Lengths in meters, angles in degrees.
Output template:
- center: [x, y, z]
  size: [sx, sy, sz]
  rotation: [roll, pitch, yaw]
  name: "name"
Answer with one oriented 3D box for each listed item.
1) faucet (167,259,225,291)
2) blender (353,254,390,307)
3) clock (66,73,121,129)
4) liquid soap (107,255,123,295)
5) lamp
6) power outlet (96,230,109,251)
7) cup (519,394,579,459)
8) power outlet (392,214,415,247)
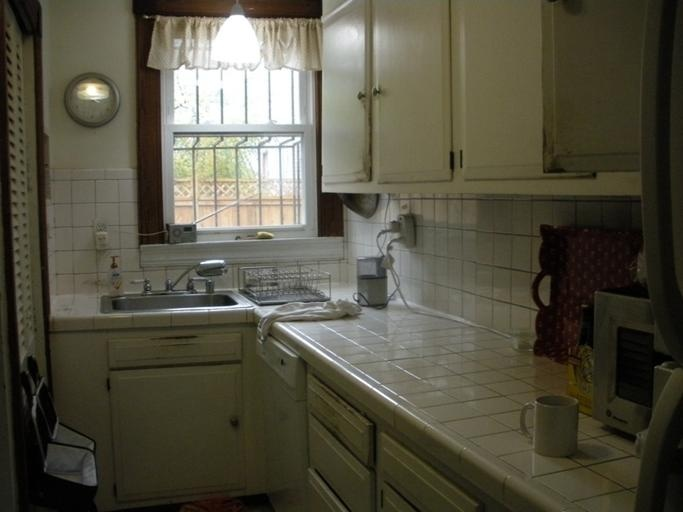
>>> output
- center: [-0.840, 0.106, 3.449]
  size: [0.397, 0.168, 0.087]
  rotation: [-11, 2, 28]
  name: "faucet"
- center: [0.137, 0.122, 3.009]
  size: [0.164, 0.224, 0.144]
  rotation: [-7, 9, -37]
  name: "blender"
- center: [-1.396, -0.865, 3.407]
  size: [0.284, 0.295, 0.047]
  rotation: [-5, 8, -7]
  name: "clock"
- center: [-1.271, 0.111, 3.417]
  size: [0.079, 0.205, 0.154]
  rotation: [-7, 9, -20]
  name: "liquid soap"
- center: [-0.554, -1.139, 3.136]
  size: [0.225, 0.270, 0.206]
  rotation: [-6, 9, -8]
  name: "lamp"
- center: [-1.348, -0.083, 3.429]
  size: [0.082, 0.125, 0.096]
  rotation: [-3, 14, -28]
  name: "power outlet"
- center: [0.490, 0.407, 1.471]
  size: [0.094, 0.131, 0.152]
  rotation: [0, -1, -25]
  name: "cup"
- center: [0.307, -0.122, 2.981]
  size: [0.058, 0.163, 0.148]
  rotation: [-9, 10, -29]
  name: "power outlet"
